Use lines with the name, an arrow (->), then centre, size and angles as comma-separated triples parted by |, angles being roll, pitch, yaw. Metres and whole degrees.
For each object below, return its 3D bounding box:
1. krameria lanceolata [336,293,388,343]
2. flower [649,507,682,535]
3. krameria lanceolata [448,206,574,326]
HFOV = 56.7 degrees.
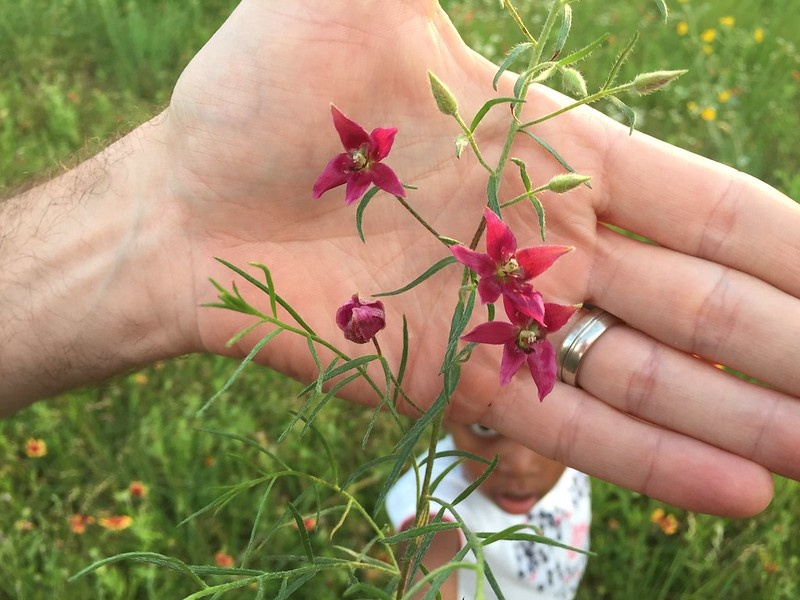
krameria lanceolata -> -0.127, 0.055, 2.470 | 0.125, 0.194, 0.155 | -22, -9, 35
flower -> 1.101, 0.928, 3.104 | 0.090, 0.032, 0.100 | -14, 30, 23
krameria lanceolata -> 0.370, -0.145, 2.346 | 0.324, 0.204, 0.429 | 19, 21, 14
